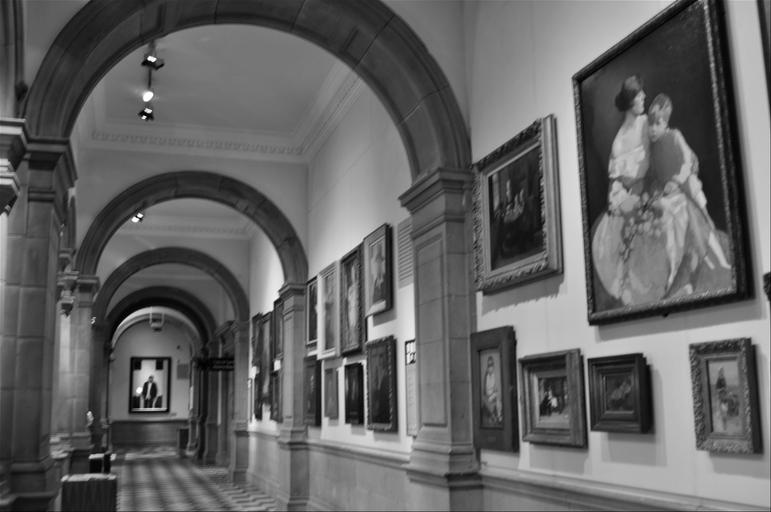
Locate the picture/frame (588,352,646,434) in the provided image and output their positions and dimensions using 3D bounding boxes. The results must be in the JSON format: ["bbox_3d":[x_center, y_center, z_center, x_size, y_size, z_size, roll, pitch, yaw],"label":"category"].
[{"bbox_3d":[2.244,1.326,6.243,0.196,0.757,0.637,7,-16,-18],"label":"picture/frame"}]

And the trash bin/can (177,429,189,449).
[{"bbox_3d":[-9.921,8.993,31.834,0.591,0.966,0.560,9,-17,-33],"label":"trash bin/can"}]

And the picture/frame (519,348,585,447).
[{"bbox_3d":[1.834,1.545,7.054,0.098,1.020,0.949,9,-17,-25],"label":"picture/frame"}]
